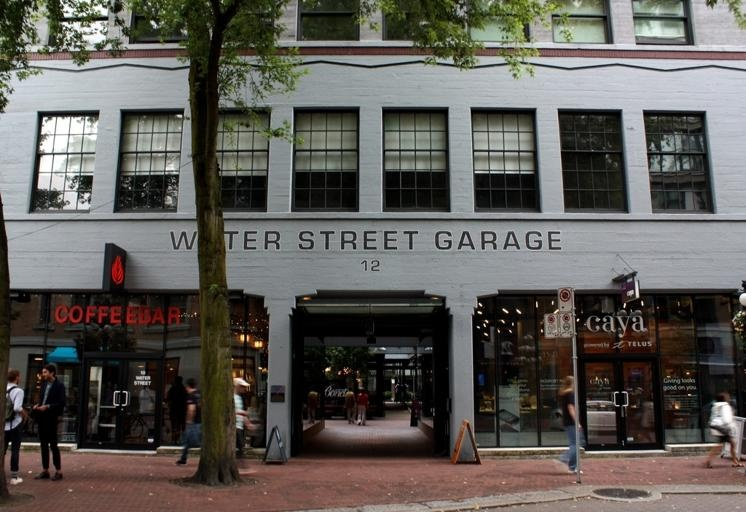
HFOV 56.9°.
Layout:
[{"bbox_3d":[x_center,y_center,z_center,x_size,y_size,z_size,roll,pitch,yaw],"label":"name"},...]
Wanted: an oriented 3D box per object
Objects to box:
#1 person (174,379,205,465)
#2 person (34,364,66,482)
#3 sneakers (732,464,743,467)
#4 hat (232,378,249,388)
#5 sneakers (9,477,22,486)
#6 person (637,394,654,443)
[{"bbox_3d":[-5.261,4.761,19.812,0.605,2.331,1.477,2,-4,-15],"label":"person"},{"bbox_3d":[-8.281,4.208,17.640,0.735,2.881,0.983,2,-4,-24],"label":"person"},{"bbox_3d":[10.206,5.851,19.265,0.244,0.075,0.101,-1,-8,1],"label":"sneakers"},{"bbox_3d":[-3.909,3.752,20.386,0.473,0.118,0.461,1,-2,-10],"label":"hat"},{"bbox_3d":[-8.711,5.492,16.852,0.128,0.143,0.349,1,1,8],"label":"sneakers"},{"bbox_3d":[8.679,5.240,21.837,0.508,1.334,0.168,0,-4,12],"label":"person"}]
